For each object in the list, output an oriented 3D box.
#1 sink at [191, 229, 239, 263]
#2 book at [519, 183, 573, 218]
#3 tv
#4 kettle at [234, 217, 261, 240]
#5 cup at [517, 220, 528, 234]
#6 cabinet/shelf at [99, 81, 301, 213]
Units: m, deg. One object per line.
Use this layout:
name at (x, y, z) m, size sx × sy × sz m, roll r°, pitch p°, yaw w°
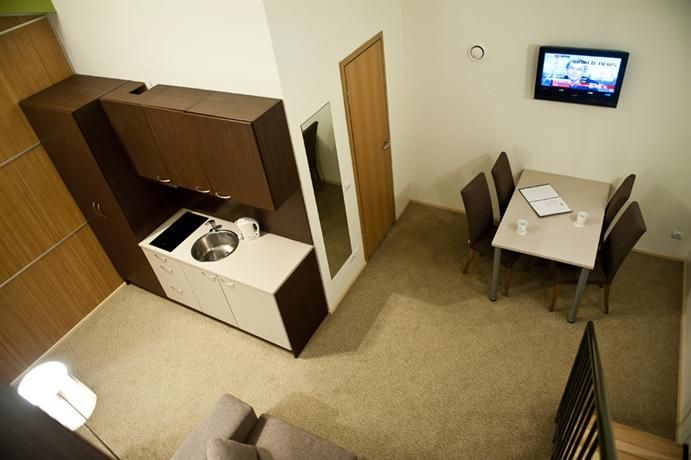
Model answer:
sink at (-1.554, 0.194, 5.524) m, size 0.397 × 0.163 × 0.411 m, roll 26°, pitch 53°, yaw 22°
book at (2.353, -0.360, 5.566) m, size 0.361 × 0.036 × 0.490 m, roll -10°, pitch 46°, yaw -4°
tv at (2.637, -1.709, 5.204) m, size 0.707 × 0.525 × 0.098 m, roll 17°, pitch 48°, yaw 20°
kettle at (-1.090, -0.029, 5.415) m, size 0.294 × 0.315 × 0.183 m, roll 5°, pitch 49°, yaw 10°
cup at (1.948, -0.036, 5.261) m, size 0.127 × 0.150 × 0.138 m, roll -6°, pitch 58°, yaw 9°
cabinet/shelf at (-1.460, -0.887, 4.733) m, size 1.357 × 0.819 × 0.419 m, roll 15°, pitch 53°, yaw 20°
